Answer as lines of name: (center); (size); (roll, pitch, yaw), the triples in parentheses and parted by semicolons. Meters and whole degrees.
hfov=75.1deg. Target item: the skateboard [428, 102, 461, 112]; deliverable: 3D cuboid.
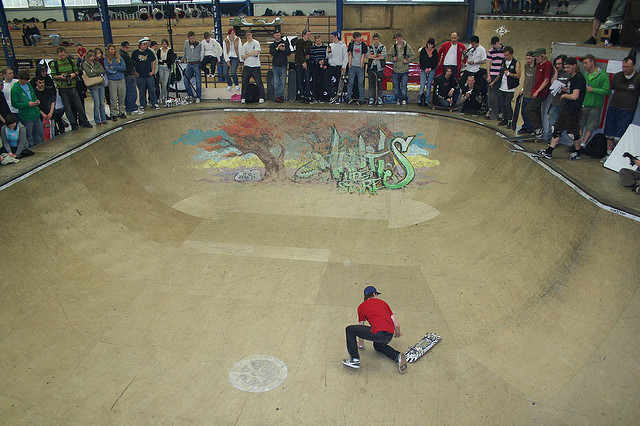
skateboard: (4.530, -3.811, 15.042); (0.818, 0.151, 0.482); (4, 34, 14)

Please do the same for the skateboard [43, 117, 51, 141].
skateboard: (-8.328, -2.555, 12.701); (0.201, 0.494, 0.352); (-10, 25, -22)

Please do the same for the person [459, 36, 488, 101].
person: (5.271, -4.892, 14.114); (0.947, 1.980, 0.494); (7, 24, 16)

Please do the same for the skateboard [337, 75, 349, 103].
skateboard: (0.830, -4.765, 15.786); (0.314, 1.108, 0.185); (0, 11, -30)

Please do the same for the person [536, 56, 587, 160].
person: (6.540, -2.749, 10.925); (1.005, 2.465, 1.519); (12, 26, 26)

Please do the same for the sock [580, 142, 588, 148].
sock: (7.133, -1.860, 11.275); (0.141, 0.139, 0.124); (15, 28, 31)

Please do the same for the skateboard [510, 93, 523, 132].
skateboard: (6.151, -3.250, 13.039); (0.370, 0.256, 1.447); (4, 61, 38)

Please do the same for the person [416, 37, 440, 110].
person: (3.882, -5.096, 15.197); (0.730, 2.330, 1.136); (5, 24, 12)

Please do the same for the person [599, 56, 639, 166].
person: (7.514, -2.609, 10.450); (0.611, 2.458, 0.430); (15, 27, 31)

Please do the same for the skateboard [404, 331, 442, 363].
skateboard: (2.137, 2.743, 8.634); (0.350, 0.240, 0.997); (20, 31, 33)

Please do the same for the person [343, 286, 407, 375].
person: (1.151, 2.353, 8.421); (0.895, 1.517, 1.832); (15, -12, -27)
